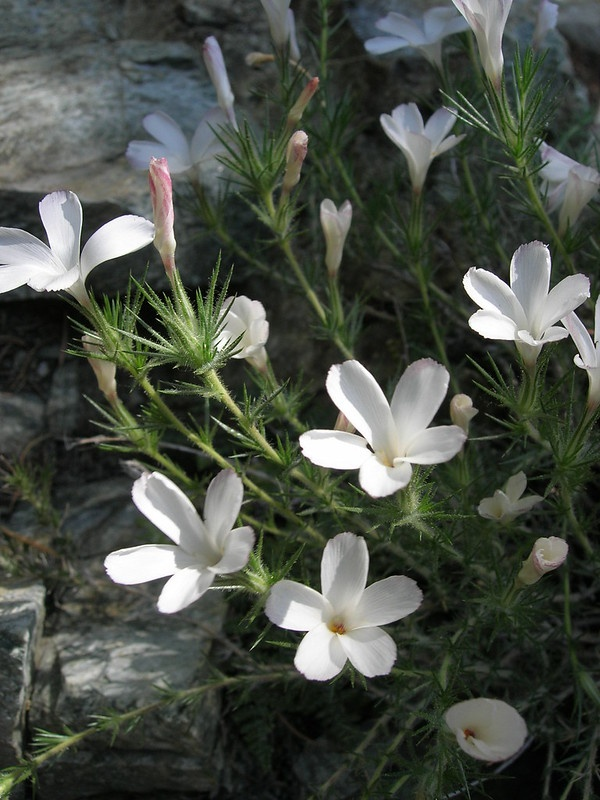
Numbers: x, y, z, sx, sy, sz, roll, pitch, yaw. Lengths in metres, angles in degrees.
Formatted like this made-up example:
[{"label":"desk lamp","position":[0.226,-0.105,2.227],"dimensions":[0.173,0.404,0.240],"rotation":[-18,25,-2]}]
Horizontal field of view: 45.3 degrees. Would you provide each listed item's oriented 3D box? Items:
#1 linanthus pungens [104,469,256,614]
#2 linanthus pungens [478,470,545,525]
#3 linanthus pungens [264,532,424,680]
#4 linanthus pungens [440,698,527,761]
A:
[{"label":"linanthus pungens","position":[-0.204,0.253,1.447],"dimensions":[0.299,0.165,0.295],"rotation":[-24,62,15]},{"label":"linanthus pungens","position":[0.494,0.239,1.700],"dimensions":[0.159,0.092,0.131],"rotation":[-9,54,22]},{"label":"linanthus pungens","position":[0.083,0.418,1.380],"dimensions":[0.258,0.141,0.275],"rotation":[38,57,25]},{"label":"linanthus pungens","position":[0.382,0.672,1.463],"dimensions":[0.173,0.072,0.141],"rotation":[-7,47,6]}]
